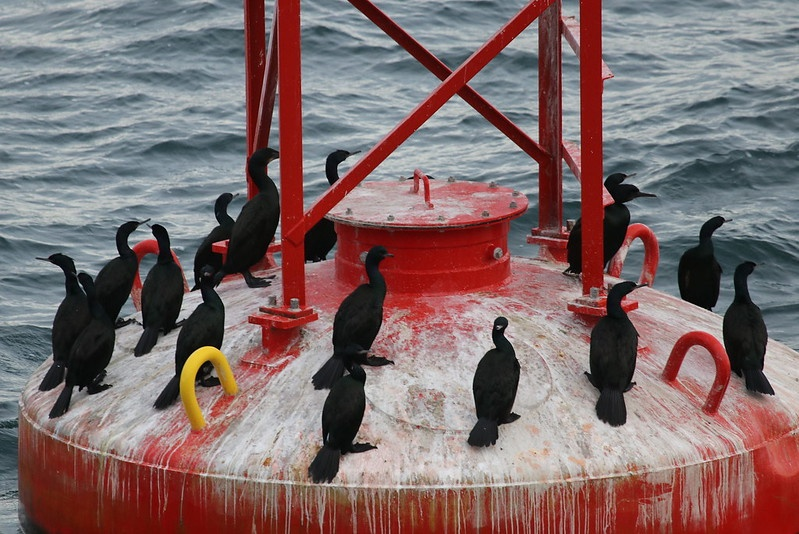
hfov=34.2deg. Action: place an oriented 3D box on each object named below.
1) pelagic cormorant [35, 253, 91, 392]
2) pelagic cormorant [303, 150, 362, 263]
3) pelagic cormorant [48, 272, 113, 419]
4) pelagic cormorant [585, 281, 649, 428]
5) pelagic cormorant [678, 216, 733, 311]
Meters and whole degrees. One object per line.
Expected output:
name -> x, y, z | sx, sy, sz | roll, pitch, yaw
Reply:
pelagic cormorant -> -4.189, 0.732, 16.682 | 1.021, 1.876, 0.617 | 2, -1, 10
pelagic cormorant -> -1.026, -0.712, 18.655 | 0.803, 1.868, 1.860 | -3, 20, 1
pelagic cormorant -> -3.897, 0.986, 15.879 | 0.530, 1.544, 0.964 | 13, 26, 38
pelagic cormorant -> 2.477, 1.082, 15.694 | 0.577, 1.639, 0.998 | 4, -21, 8
pelagic cormorant -> 4.094, 0.004, 17.720 | 0.571, 1.380, 0.442 | 2, 21, 13
